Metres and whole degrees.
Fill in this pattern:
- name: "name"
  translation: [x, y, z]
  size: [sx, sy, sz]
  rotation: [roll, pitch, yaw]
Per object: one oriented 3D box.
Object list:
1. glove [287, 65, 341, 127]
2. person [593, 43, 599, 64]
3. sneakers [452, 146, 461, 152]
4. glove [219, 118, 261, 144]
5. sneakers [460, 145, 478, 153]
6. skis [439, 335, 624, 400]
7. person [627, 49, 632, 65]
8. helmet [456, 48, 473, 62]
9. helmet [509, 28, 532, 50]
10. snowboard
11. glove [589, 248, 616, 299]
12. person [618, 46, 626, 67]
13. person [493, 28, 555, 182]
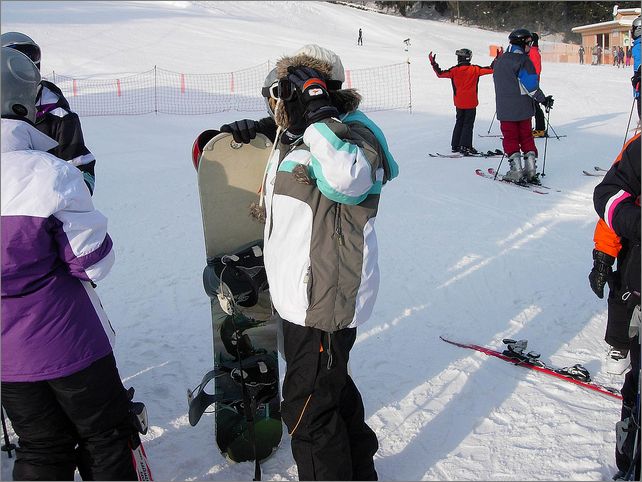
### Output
- name: "glove"
  translation: [-0.047, -0.807, 3.111]
  size: [0.212, 0.310, 0.360]
  rotation: [-6, 15, -18]
- name: "person"
  translation: [13.069, -8.809, 26.668]
  size: [0.224, 0.793, 0.662]
  rotation: [5, 15, 25]
- name: "sneakers"
  translation: [2.368, -1.602, 9.870]
  size: [0.154, 0.055, 0.114]
  rotation: [-3, -29, -10]
- name: "glove"
  translation: [-0.584, -0.778, 4.025]
  size: [0.276, 0.168, 0.218]
  rotation: [-4, 14, -11]
- name: "sneakers"
  translation: [2.551, -1.569, 9.737]
  size: [0.333, 0.122, 0.159]
  rotation: [5, -4, 9]
- name: "skis"
  translation: [1.711, 1.035, 4.536]
  size: [1.237, 0.161, 0.175]
  rotation: [18, 17, 32]
- name: "person"
  translation: [13.683, -8.160, 24.972]
  size: [0.198, 0.708, 1.381]
  rotation: [5, 16, 25]
- name: "helmet"
  translation: [2.461, -3.181, 9.676]
  size: [0.290, 0.296, 0.245]
  rotation: [13, 19, 18]
- name: "helmet"
  translation: [2.793, -2.818, 7.882]
  size: [0.280, 0.324, 0.484]
  rotation: [3, 15, 17]
- name: "snowboard"
  translation: [-0.556, 0.513, 3.907]
  size: [0.600, 2.563, 0.375]
  rotation: [-2, 6, -13]
- name: "glove"
  translation: [2.029, 0.252, 4.059]
  size: [0.204, 0.339, 0.131]
  rotation: [19, 21, 33]
- name: "person"
  translation: [13.021, -7.976, 24.401]
  size: [0.286, 0.824, 1.944]
  rotation: [5, 16, 26]
- name: "person"
  translation: [2.792, -1.875, 7.995]
  size: [0.719, 2.143, 0.474]
  rotation: [4, 15, 21]
